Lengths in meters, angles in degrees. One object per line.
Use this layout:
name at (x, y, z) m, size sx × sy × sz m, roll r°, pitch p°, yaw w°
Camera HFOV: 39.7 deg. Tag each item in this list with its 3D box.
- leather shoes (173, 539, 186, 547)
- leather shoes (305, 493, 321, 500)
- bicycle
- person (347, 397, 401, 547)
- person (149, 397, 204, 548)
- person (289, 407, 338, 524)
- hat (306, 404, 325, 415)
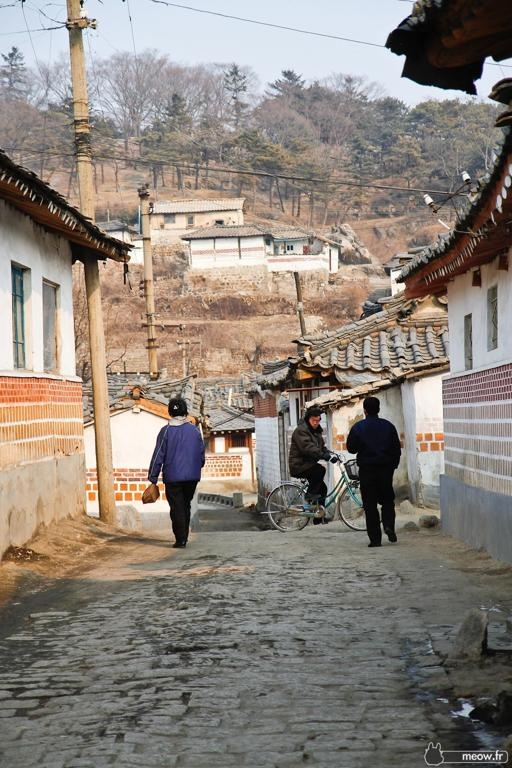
leather shoes at (-1.017, 2.080, 9.208) m, size 0.200 × 0.100 × 0.142 m, roll -2°, pitch -6°, yaw 16°
leather shoes at (0.862, 1.734, 10.877) m, size 0.249 × 0.082 × 0.108 m, roll -8°, pitch -3°, yaw 19°
bicycle at (1.065, 1.812, 11.398) m, size 2.107 × 1.261 × 0.837 m, roll -5°, pitch 0°, yaw 12°
person at (1.482, 1.098, 8.925) m, size 0.634 × 1.862 × 0.623 m, roll -1°, pitch -5°, yaw 8°
person at (-1.040, 1.272, 9.216) m, size 0.752 × 1.703 × 0.374 m, roll 1°, pitch -5°, yaw -22°
person at (0.785, 1.218, 10.640) m, size 0.591 × 1.733 × 1.015 m, roll -1°, pitch -5°, yaw 2°
hat at (0.858, 0.416, 10.447) m, size 0.211 × 0.166 × 0.218 m, roll 5°, pitch 1°, yaw -6°
